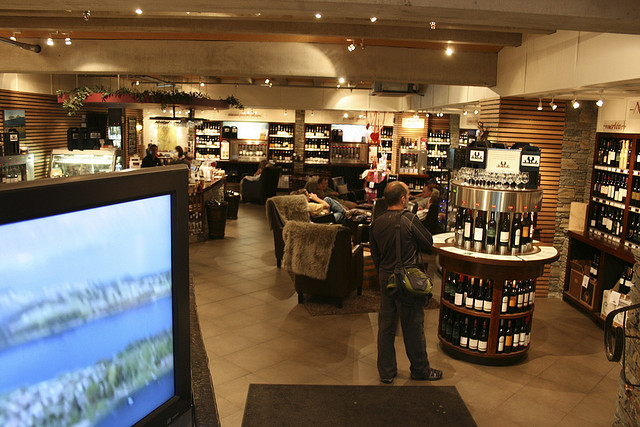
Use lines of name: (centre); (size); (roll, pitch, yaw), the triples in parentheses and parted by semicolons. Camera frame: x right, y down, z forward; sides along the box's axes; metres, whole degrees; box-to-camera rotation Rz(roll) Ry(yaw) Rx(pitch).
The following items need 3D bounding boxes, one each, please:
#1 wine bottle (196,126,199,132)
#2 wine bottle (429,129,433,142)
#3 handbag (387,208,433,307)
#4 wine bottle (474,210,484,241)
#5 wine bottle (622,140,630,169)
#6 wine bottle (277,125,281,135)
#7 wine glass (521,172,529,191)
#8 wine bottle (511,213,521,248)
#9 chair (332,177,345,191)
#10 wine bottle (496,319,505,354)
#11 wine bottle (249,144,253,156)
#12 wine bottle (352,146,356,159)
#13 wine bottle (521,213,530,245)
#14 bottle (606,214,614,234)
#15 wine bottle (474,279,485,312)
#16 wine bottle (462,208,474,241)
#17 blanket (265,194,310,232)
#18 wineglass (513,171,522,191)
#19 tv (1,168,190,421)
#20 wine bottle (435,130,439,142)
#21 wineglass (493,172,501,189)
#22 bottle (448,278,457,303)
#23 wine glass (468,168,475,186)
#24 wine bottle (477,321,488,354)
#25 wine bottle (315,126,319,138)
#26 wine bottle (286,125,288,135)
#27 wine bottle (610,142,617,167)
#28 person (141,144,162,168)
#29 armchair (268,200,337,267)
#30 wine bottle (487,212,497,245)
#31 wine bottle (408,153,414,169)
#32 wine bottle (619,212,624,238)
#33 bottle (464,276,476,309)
wine bottle: (-4.653, -3.197, 17.271); (0.107, 0.165, 0.092); (-2, 11, -25)
wine bottle: (3.660, -2.552, 14.957); (0.118, 0.368, 0.063); (5, 10, 12)
handbag: (0.935, 0.487, 4.649); (0.456, 0.967, 0.412); (5, 10, 12)
wine bottle: (1.903, 0.151, 5.407); (0.099, 0.343, 0.131); (8, 11, 31)
wine bottle: (4.517, -0.875, 6.699); (0.067, 0.420, 0.168); (9, 12, 33)
wine bottle: (-1.518, -3.134, 16.931); (0.120, 0.347, 0.194); (1, 10, -9)
wine glass: (2.515, -0.412, 5.575); (0.078, 0.180, 0.197); (8, 11, 28)
wine bottle: (2.320, 0.202, 5.374); (0.106, 0.385, 0.141); (4, 10, 8)
chair: (0.604, -0.940, 13.809); (0.337, 0.601, 0.338); (-1, 1, -28)
wine bottle: (2.123, 1.445, 5.314); (0.110, 0.417, 0.038); (-1, 10, -20)
wine bottle: (-2.593, -2.375, 17.101); (0.113, 0.373, 0.105); (2, 10, 0)
wine bottle: (1.269, -2.272, 16.859); (0.095, 0.461, 0.079); (3, 10, 3)
wine bottle: (2.437, 0.183, 5.399); (0.075, 0.363, 0.144); (10, 12, 36)
bottle: (4.427, 0.173, 6.927); (0.058, 0.229, 0.137); (2, 10, -2)
wine bottle: (1.854, 0.960, 5.274); (0.090, 0.363, 0.080); (2, 10, -3)
wine bottle: (1.802, 0.141, 5.506); (0.085, 0.376, 0.125); (-1, 10, -18)
blanket: (-0.554, -0.017, 8.072); (0.596, 0.273, 0.582); (-3, -15, 0)
wineglass: (2.391, -0.409, 5.488); (0.091, 0.197, 0.276); (7, 11, 23)
tv: (-0.488, 0.234, 1.061); (0.068, 0.650, 0.451); (10, 13, 38)
wine bottle: (3.854, -2.539, 14.946); (0.129, 0.347, 0.082); (-1, 11, -22)
wineglass: (2.133, -0.408, 5.487); (0.092, 0.171, 0.201); (6, 11, 20)
bottle: (1.606, 0.942, 5.509); (0.048, 0.295, 0.089); (-2, 11, -23)
wine glass: (1.877, -0.465, 5.652); (0.083, 0.188, 0.290); (6, 11, 18)
wine bottle: (1.913, 1.453, 5.314); (0.112, 0.382, 0.055); (6, 10, 20)
wine bottle: (-0.109, -3.005, 16.864); (0.145, 0.347, 0.185); (2, 10, -6)
wine bottle: (-1.229, -3.140, 16.957); (0.052, 0.347, 0.169); (1, 10, -8)
wine bottle: (4.522, -0.909, 6.992); (0.088, 0.371, 0.200); (9, 12, 32)
person: (-4.430, -1.514, 11.848); (0.366, 0.525, 0.706); (-2, 11, -22)
armchair: (-0.449, 0.251, 9.000); (1.215, 1.596, 1.139); (-5, 9, -19)
wine bottle: (2.035, 0.179, 5.376); (0.091, 0.377, 0.101); (6, 10, 21)
wine bottle: (2.898, -1.667, 14.458); (0.169, 0.475, 0.110); (-2, 11, -22)
wine bottle: (4.412, 0.216, 6.656); (0.012, 0.278, 0.179); (7, 11, 24)
bottle: (1.772, 0.948, 5.320); (0.082, 0.367, 0.111); (-1, 10, -19)
